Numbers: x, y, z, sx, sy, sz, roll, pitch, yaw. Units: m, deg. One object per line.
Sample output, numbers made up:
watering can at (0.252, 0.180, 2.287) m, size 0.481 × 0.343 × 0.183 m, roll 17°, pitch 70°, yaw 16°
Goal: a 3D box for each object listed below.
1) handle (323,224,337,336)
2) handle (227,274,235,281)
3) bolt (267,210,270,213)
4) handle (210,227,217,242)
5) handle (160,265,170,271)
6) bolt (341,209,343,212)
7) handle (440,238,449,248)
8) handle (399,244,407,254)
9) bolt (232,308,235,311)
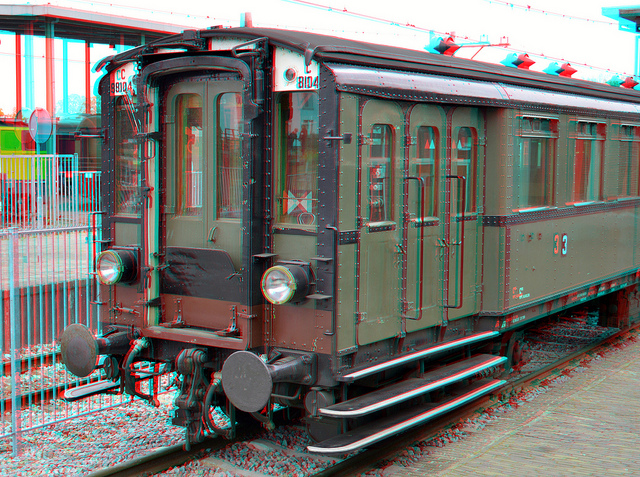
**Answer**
handle at (0.098, 0.377, 5.140) m, size 0.133 × 1.026 × 0.098 m, roll 2°, pitch 5°, yaw 1°
handle at (-0.892, 0.384, 5.571) m, size 0.086 × 0.076 × 0.037 m, roll 5°, pitch 6°, yaw 25°
bolt at (-0.500, -0.274, 5.428) m, size 0.032 × 0.029 × 0.008 m, roll 2°, pitch 3°, yaw -38°
handle at (-1.085, -0.043, 5.710) m, size 0.026 × 0.098 × 0.071 m, roll 21°, pitch 5°, yaw -13°
handle at (-1.662, 0.306, 6.005) m, size 0.079 × 0.048 × 0.022 m, roll -39°, pitch 2°, yaw 5°
bolt at (0.203, -0.270, 5.163) m, size 0.026 × 0.024 × 0.045 m, roll -1°, pitch -4°, yaw 2°
handle at (1.477, 0.047, 6.572) m, size 0.026 × 0.102 × 0.077 m, roll -14°, pitch -21°, yaw 25°
handle at (0.878, 0.101, 5.932) m, size 0.043 × 0.121 × 0.032 m, roll -34°, pitch 14°, yaw -31°
bolt at (-0.852, 0.696, 5.514) m, size 0.029 × 0.007 × 0.029 m, roll -2°, pitch 9°, yaw -7°
